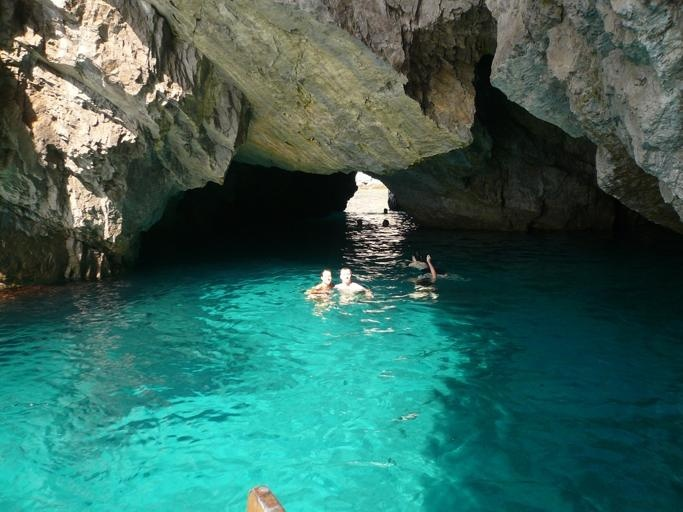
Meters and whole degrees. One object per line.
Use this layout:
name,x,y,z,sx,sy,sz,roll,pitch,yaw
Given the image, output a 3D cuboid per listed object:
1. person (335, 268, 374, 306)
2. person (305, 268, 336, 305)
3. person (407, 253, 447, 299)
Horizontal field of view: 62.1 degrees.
person,0.214,0.540,11.145,0.764,0.552,1.224,-2,6,0
person,-0.316,0.659,11.228,0.695,0.750,0.415,-7,4,-24
person,1.792,0.484,11.843,0.833,0.392,0.940,3,9,4
